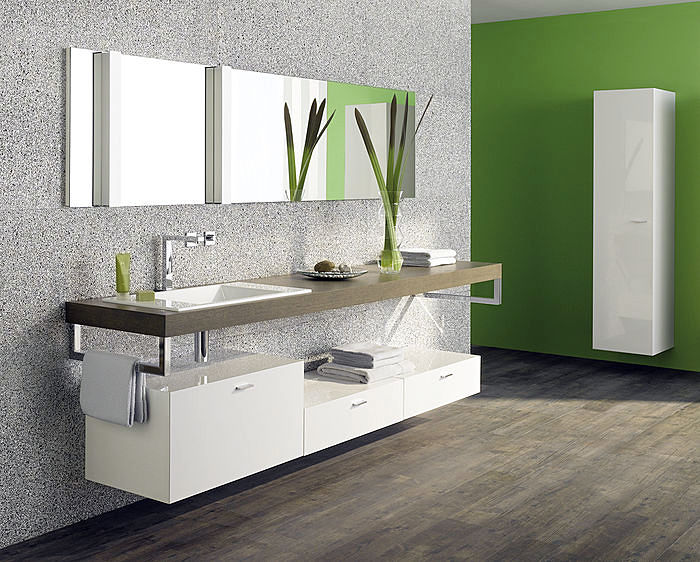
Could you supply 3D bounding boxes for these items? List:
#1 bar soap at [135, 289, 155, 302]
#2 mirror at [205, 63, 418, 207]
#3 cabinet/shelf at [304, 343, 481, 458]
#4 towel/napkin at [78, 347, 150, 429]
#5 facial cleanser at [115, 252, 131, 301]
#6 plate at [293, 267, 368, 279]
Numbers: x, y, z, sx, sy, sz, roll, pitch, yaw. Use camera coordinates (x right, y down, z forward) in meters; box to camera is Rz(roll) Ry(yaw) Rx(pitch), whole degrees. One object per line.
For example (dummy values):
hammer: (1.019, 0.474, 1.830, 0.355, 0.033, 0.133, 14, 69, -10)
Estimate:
bar soap: (-0.829, 0.055, 2.351, 0.052, 0.032, 0.053, 4, 6, 19)
mirror: (-0.239, -0.798, 3.235, 0.079, 0.761, 1.310, 4, 7, 42)
cabinet/shelf: (0.182, 0.623, 3.349, 1.442, 0.294, 0.324, -5, 7, -44)
towel/napkin: (-0.920, 0.409, 2.251, 0.347, 0.274, 0.075, 3, 6, 32)
facial cleanser: (-0.948, -0.029, 2.429, 0.051, 0.172, 0.038, -2, 6, -23)
plate: (-0.113, -0.042, 3.237, 0.387, 0.053, 0.342, -1, 5, -5)
